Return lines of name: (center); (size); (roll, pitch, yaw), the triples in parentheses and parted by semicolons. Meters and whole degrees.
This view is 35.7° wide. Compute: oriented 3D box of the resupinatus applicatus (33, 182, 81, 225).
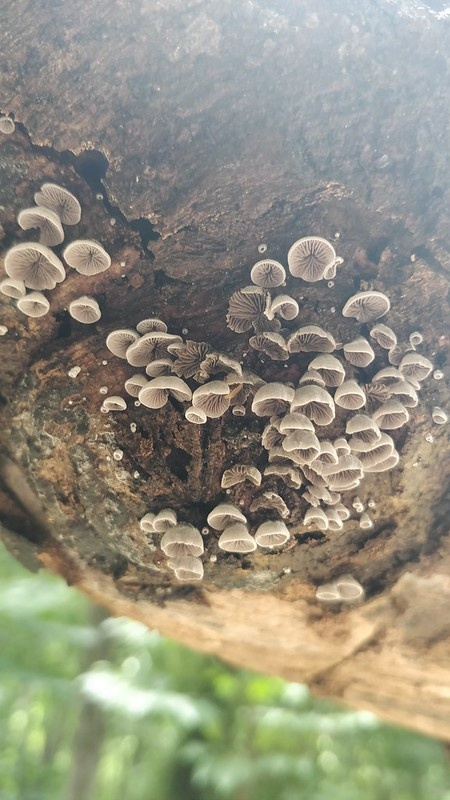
resupinatus applicatus: (-1.921, -2.244, 8.076); (0.431, 0.104, 0.392); (12, 21, -45)

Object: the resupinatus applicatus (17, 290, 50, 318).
resupinatus applicatus: (-2.261, -1.152, 8.261); (0.321, 0.303, 0.214); (2, 50, 9)
